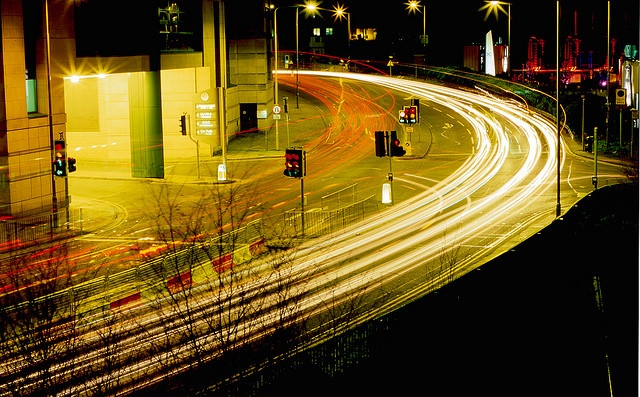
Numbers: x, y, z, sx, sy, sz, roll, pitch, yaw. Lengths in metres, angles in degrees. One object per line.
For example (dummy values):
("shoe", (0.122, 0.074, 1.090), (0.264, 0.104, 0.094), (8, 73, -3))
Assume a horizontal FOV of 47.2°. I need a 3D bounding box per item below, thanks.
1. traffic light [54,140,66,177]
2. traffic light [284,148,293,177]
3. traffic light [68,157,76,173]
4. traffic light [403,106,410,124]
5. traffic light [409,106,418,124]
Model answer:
("traffic light", (-16.107, -2.482, 45.281), (0.766, 2.197, 0.693), (-5, 13, -16))
("traffic light", (-1.816, -1.968, 40.979), (0.360, 1.504, 0.631), (-6, 13, -22))
("traffic light", (-15.634, -2.144, 46.064), (0.454, 0.902, 1.274), (-6, 15, -21))
("traffic light", (6.428, -6.243, 54.582), (0.363, 1.190, 0.666), (-1, 13, 3))
("traffic light", (6.902, -6.264, 54.940), (0.619, 1.386, 1.598), (2, 14, 13))
